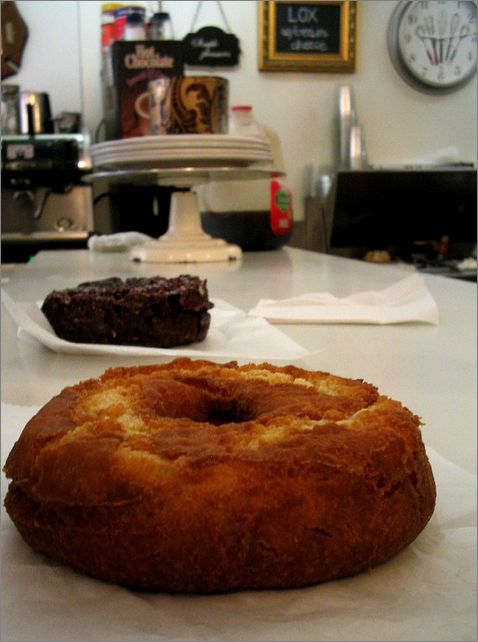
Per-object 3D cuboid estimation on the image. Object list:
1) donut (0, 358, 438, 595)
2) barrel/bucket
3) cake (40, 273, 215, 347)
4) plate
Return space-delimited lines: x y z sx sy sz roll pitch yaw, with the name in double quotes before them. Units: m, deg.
"donut" -0.004 0.057 0.253 0.172 0.043 0.159 6 12 27
"barrel/bucket" 0.003 -0.373 1.496 0.243 0.358 0.202 4 8 18
"cake" -0.111 -0.016 0.526 0.122 0.041 0.074 0 9 2
"plate" -0.133 -0.340 1.199 0.401 0.075 0.316 3 11 13
